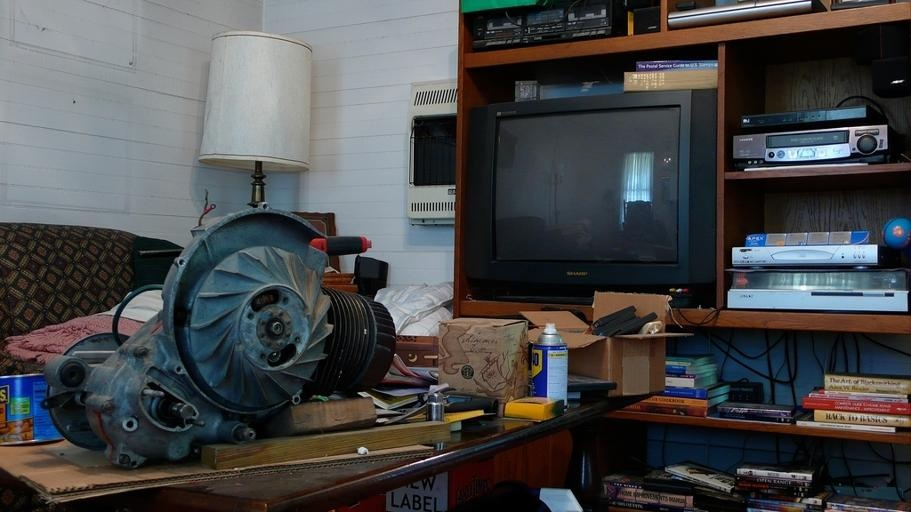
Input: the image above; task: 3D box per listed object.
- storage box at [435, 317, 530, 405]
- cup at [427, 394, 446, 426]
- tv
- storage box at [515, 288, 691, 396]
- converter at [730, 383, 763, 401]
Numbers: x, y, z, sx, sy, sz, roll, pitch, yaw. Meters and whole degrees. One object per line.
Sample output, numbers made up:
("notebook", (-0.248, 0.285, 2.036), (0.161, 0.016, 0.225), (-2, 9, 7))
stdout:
("storage box", (0.101, 0.370, 2.448), (0.285, 0.255, 0.284), (0, -3, 24))
("cup", (-0.063, 0.474, 2.114), (0.085, 0.114, 0.075), (1, -11, -4))
("tv", (0.873, -0.320, 3.973), (1.576, 1.196, 0.872), (0, -2, 35))
("storage box", (0.561, 0.367, 2.687), (0.423, 0.327, 0.651), (9, -10, -41))
("converter", (1.565, 0.729, 3.659), (0.105, 0.070, 0.147), (-2, -7, 35))
